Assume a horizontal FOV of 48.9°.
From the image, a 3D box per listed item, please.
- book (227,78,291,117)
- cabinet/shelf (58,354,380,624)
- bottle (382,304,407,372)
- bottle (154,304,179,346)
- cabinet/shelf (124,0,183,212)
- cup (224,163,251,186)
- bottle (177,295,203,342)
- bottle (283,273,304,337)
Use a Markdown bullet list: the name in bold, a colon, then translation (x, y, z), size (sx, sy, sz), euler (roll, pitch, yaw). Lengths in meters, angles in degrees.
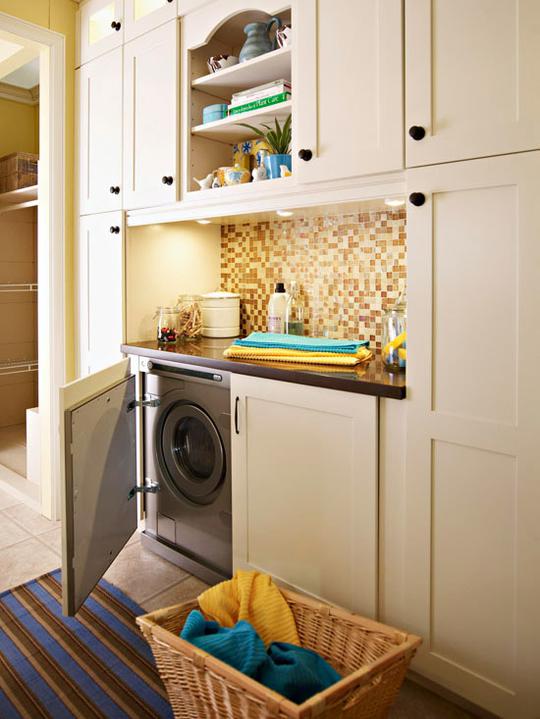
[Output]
- **book**: translation (-0.039, -0.864, 1.966), size (0.050, 0.082, 0.288), euler (-8, 13, -42)
- **cabinet/shelf**: translation (-0.082, 0.407, 1.996), size (1.134, 0.799, 0.648), euler (4, 11, 30)
- **bottle**: translation (0.386, -0.069, 1.783), size (0.101, 0.184, 0.110), euler (-2, 6, 0)
- **bottle**: translation (-0.432, -0.155, 2.493), size (0.095, 0.140, 0.222), euler (-2, 10, -11)
- **cabinet/shelf**: translation (-0.457, -0.922, 2.256), size (0.095, 0.652, 0.342), euler (-6, 11, -37)
- **cup**: translation (-0.118, -0.638, 2.102), size (0.077, 0.069, 0.081), euler (-14, 40, 12)
- **bottle**: translation (-0.344, -0.185, 2.534), size (0.101, 0.182, 0.118), euler (-1, 9, -5)
- **bottle**: translation (0.092, -0.203, 2.236), size (0.074, 0.235, 0.076), euler (-2, 32, 1)
